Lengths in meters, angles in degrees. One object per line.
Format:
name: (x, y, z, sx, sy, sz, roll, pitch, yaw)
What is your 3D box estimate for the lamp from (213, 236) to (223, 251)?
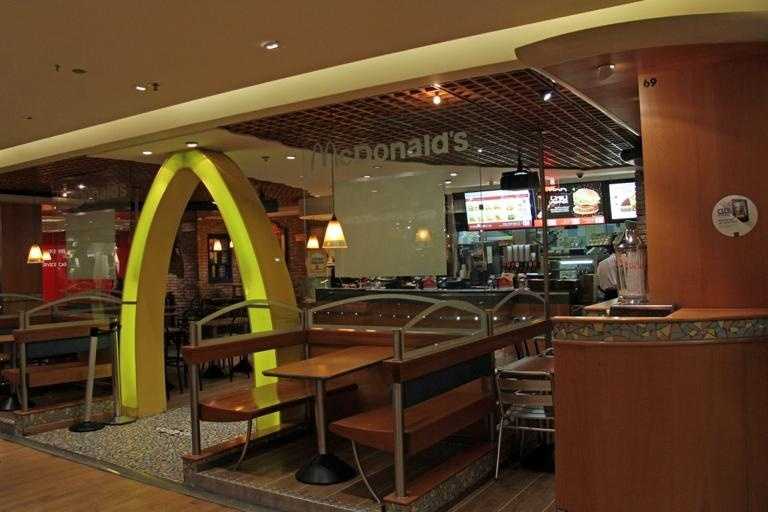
lamp: (-4.449, -0.294, 13.947, 0.331, 0.293, 0.298, -1, -6, 1)

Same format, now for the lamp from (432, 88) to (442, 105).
lamp: (0.511, -1.581, 5.136, 0.096, 0.131, 0.096, -2, 2, 13)

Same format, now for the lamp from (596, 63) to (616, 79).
lamp: (1.833, -1.550, 4.335, 0.112, 0.082, 0.088, 15, -14, -36)

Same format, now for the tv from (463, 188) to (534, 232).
tv: (1.258, -0.492, 5.584, 0.320, 0.420, 1.103, -1, 2, 39)

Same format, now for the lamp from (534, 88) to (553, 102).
lamp: (1.593, -1.629, 5.228, 0.105, 0.071, 0.136, -38, -5, 17)

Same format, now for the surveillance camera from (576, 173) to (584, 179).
surveillance camera: (3.589, -1.492, 9.635, 0.092, 0.021, 0.104, -7, -9, 40)
